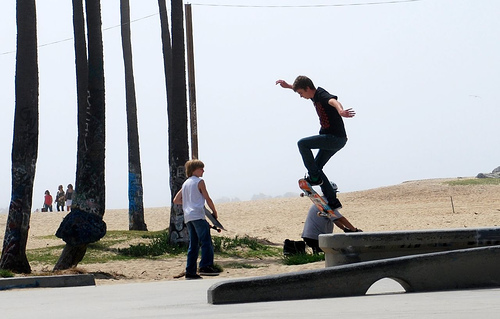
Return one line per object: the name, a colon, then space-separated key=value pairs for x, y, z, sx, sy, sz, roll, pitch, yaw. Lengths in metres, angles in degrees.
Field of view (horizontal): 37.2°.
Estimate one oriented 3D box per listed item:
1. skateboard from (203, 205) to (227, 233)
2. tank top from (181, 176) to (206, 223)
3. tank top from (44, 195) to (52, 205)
skateboard: x=-0.685 y=1.284 z=15.123 sx=0.214 sy=0.123 sz=0.843 roll=5 pitch=-39 yaw=52
tank top: x=-1.124 y=0.785 z=14.761 sx=0.472 sy=0.889 sz=0.540 roll=9 pitch=-9 yaw=-43
tank top: x=-10.853 y=2.114 z=39.660 sx=0.303 sy=0.498 sz=0.487 roll=1 pitch=-14 yaw=-15
